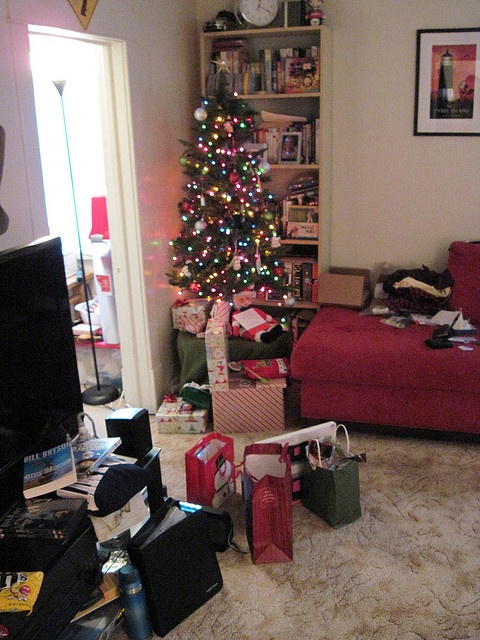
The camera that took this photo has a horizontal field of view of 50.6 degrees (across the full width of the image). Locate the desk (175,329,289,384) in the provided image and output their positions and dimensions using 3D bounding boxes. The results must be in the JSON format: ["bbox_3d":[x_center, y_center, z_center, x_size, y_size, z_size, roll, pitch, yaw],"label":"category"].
[{"bbox_3d":[-0.031,0.245,3.069,0.701,0.335,0.210,-3,14,0],"label":"desk"}]

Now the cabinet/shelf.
[{"bbox_3d":[0.220,-0.922,3.204,0.674,1.551,0.202,-9,23,-7],"label":"cabinet/shelf"}]

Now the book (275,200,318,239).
[{"bbox_3d":[0.368,-0.647,3.220,0.262,0.238,0.086,6,23,16],"label":"book"}]

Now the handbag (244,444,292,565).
[{"bbox_3d":[0.099,0.672,1.819,0.155,0.367,0.389,-2,0,1],"label":"handbag"}]

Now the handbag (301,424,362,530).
[{"bbox_3d":[0.378,0.635,2.054,0.200,0.315,0.240,-10,15,-27],"label":"handbag"}]

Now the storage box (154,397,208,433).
[{"bbox_3d":[-0.320,0.545,2.865,0.265,0.156,0.196,-1,14,5],"label":"storage box"}]

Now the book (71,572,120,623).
[{"bbox_3d":[-0.423,0.826,1.530,0.030,0.125,0.137,37,40,26],"label":"book"}]

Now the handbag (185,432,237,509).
[{"bbox_3d":[-0.117,0.628,2.072,0.103,0.258,0.275,4,12,28],"label":"handbag"}]

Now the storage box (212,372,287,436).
[{"bbox_3d":[0.049,0.441,2.855,0.335,0.213,0.327,-1,4,0],"label":"storage box"}]

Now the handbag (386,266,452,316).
[{"bbox_3d":[1.105,-0.140,3.121,0.310,0.306,0.128,0,-25,20],"label":"handbag"}]

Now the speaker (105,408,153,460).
[{"bbox_3d":[-0.416,0.429,1.902,0.162,0.188,0.154,-8,-28,-11],"label":"speaker"}]
